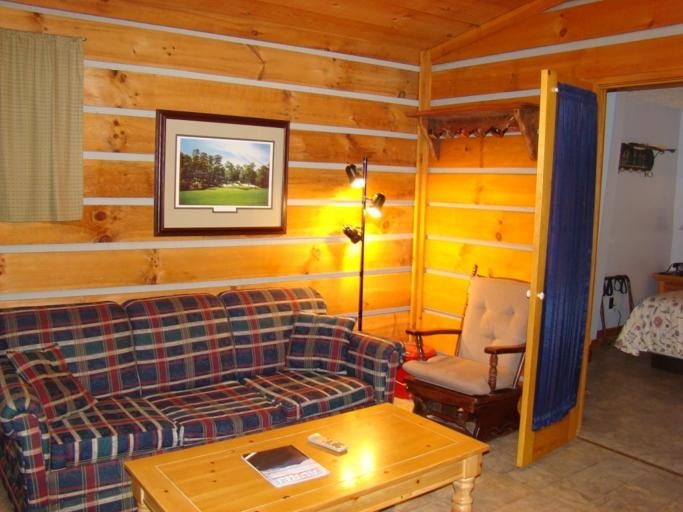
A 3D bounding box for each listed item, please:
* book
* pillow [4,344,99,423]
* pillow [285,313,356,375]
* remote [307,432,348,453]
[{"bbox_3d":[-0.280,1.024,2.623,0.265,0.283,0.015,-26,27,9],"label":"book"},{"bbox_3d":[-1.688,0.739,3.145,0.379,0.329,0.527,-6,11,-36],"label":"pillow"},{"bbox_3d":[-0.163,0.654,4.042,0.598,0.372,0.150,5,-13,17],"label":"pillow"},{"bbox_3d":[-0.077,0.988,2.808,0.165,0.024,0.075,7,7,31],"label":"remote"}]
